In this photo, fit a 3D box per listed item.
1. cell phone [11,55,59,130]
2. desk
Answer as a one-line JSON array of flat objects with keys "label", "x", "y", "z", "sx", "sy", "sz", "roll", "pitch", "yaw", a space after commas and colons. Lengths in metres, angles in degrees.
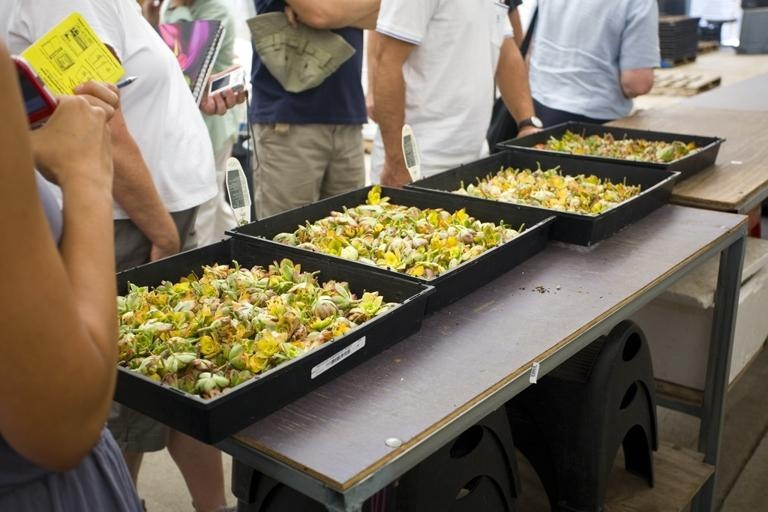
[{"label": "cell phone", "x": -0.723, "y": -0.328, "z": 1.190, "sx": 0.103, "sy": 0.137, "sz": 0.054, "roll": 22, "pitch": 39, "yaw": 39}, {"label": "desk", "x": 0.367, "y": 0.113, "z": 1.844, "sx": 0.520, "sy": 1.033, "sz": 1.599, "roll": 20, "pitch": 34, "yaw": 37}]
